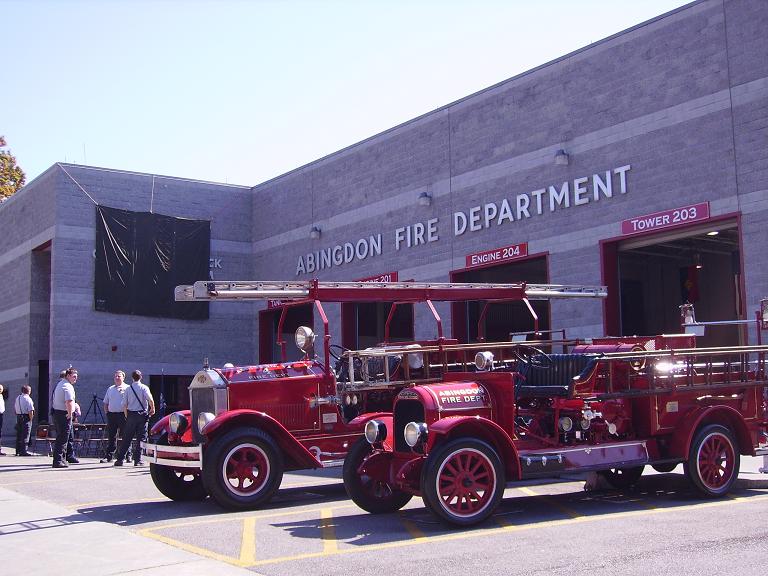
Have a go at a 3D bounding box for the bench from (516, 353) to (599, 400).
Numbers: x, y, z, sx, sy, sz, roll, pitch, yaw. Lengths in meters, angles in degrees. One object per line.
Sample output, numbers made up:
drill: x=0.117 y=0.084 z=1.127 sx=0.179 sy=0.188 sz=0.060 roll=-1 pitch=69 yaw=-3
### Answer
bench: x=2.546 y=1.348 z=12.116 sx=0.707 sy=0.641 sz=1.451 roll=-5 pitch=-2 yaw=-32

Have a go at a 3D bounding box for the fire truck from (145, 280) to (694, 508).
fire truck: x=2.005 y=1.832 z=13.544 sx=10.820 sy=4.288 sz=3.679 roll=4 pitch=-8 yaw=-26
